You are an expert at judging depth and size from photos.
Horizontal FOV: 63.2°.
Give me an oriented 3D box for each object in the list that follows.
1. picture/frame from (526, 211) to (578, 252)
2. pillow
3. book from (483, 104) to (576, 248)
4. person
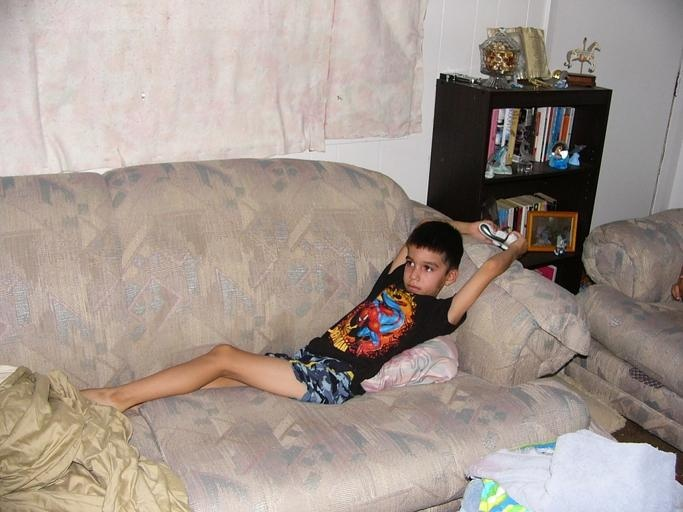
[{"bbox_3d":[1.045,-0.126,2.792,0.211,0.175,0.021,2,7,-6],"label":"picture/frame"},{"bbox_3d":[0.246,0.375,1.908,0.227,0.082,0.182,-13,32,10],"label":"pillow"},{"bbox_3d":[0.909,-0.395,2.687,0.637,0.595,0.213,-6,20,-14],"label":"book"},{"bbox_3d":[-0.139,0.206,1.922,1.608,0.660,0.436,-3,22,-19],"label":"person"}]
